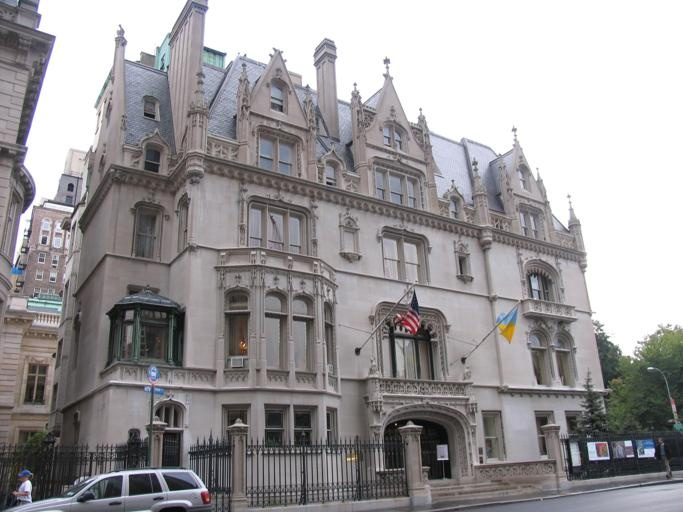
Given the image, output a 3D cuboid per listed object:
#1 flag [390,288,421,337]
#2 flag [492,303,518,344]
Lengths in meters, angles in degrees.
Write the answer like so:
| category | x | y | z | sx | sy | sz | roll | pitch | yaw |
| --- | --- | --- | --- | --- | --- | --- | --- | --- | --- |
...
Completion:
| category | x | y | z | sx | sy | sz | roll | pitch | yaw |
| --- | --- | --- | --- | --- | --- | --- | --- | --- | --- |
| flag | 4.382 | 3.396 | 35.113 | 1.554 | 4.028 | 0.660 | -3 | -46 | 12 |
| flag | 11.349 | 4.578 | 37.722 | 1.266 | 0.330 | 3.301 | 8 | -53 | 26 |
